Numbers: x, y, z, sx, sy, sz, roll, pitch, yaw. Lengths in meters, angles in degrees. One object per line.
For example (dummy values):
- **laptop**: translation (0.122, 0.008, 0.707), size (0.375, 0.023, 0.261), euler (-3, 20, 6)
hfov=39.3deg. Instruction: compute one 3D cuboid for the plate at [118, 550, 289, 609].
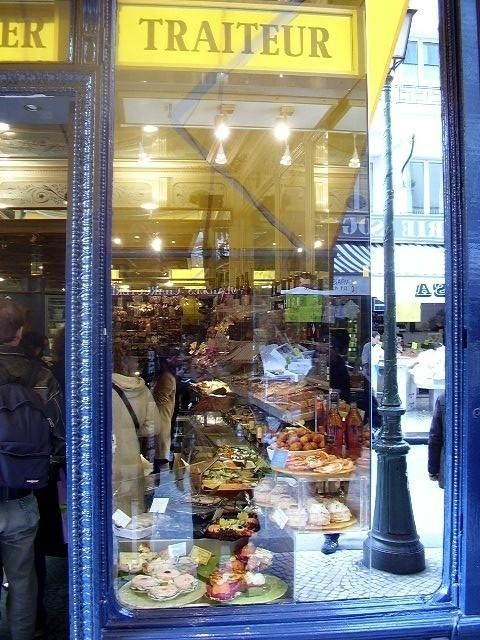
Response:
- **plate**: translation (-0.109, 0.782, 2.020), size (0.502, 0.072, 0.255), euler (-1, 2, -10)
